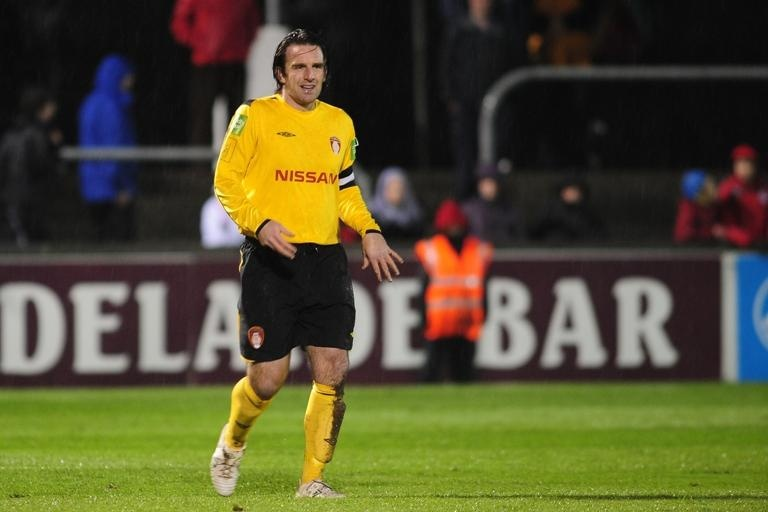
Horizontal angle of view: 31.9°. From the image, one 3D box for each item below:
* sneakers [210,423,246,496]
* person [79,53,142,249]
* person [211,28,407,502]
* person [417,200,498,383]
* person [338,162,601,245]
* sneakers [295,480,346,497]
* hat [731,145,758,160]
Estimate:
[{"bbox_3d":[-1.092,1.428,9.381,0.156,0.507,0.201,9,-7,-27],"label":"sneakers"},{"bbox_3d":[-2.523,-0.974,12.253,0.515,1.361,0.204,0,0,-16],"label":"person"},{"bbox_3d":[-0.609,0.064,9.200,1.120,2.754,0.521,0,0,-9],"label":"person"},{"bbox_3d":[0.718,0.543,12.474,0.712,2.100,0.630,-4,18,1],"label":"person"},{"bbox_3d":[0.891,-0.466,12.683,2.629,0.862,0.635,0,0,3],"label":"person"},{"bbox_3d":[-0.449,1.621,9.183,0.242,0.108,0.141,-1,-5,9],"label":"sneakers"},{"bbox_3d":[3.384,-0.957,12.521,0.183,0.068,0.197,-6,14,-24],"label":"hat"}]
